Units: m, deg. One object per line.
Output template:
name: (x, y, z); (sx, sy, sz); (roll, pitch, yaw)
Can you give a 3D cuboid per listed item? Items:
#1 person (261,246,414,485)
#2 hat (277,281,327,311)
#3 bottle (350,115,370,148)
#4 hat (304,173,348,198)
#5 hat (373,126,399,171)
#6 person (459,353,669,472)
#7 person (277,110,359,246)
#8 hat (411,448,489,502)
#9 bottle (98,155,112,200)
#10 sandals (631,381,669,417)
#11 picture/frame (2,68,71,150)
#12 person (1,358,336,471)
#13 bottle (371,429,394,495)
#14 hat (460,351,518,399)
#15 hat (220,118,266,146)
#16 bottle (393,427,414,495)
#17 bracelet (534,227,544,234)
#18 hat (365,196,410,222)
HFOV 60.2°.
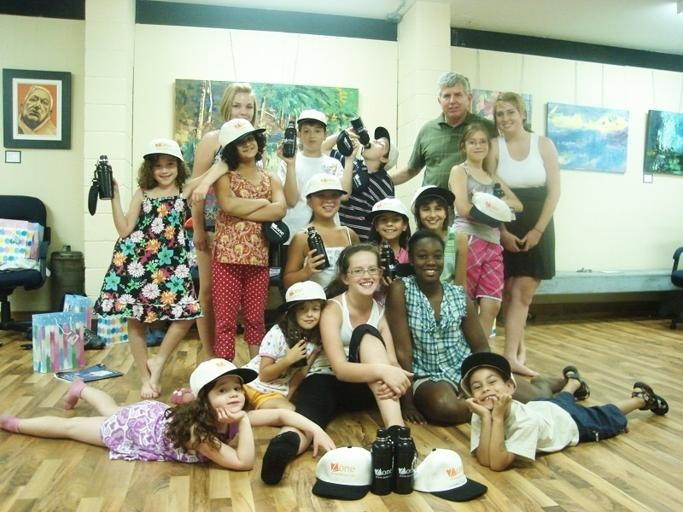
person: (0.016, 0.549, 3.277); (0.688, 0.895, 1.221); (5, 24, -6)
hat: (-0.226, 0.217, 3.383); (0.165, 0.071, 0.174); (-11, 1, 18)
bottle: (0.140, -0.869, 4.193); (0.102, 0.252, 0.089); (-11, 31, 31)
hat: (-0.105, -0.457, 3.823); (0.238, 0.149, 0.173); (-7, 12, -36)
hat: (0.361, -0.812, 4.436); (0.110, 0.321, 0.196); (-12, 15, -22)
person: (1.086, 0.715, 3.164); (0.864, 0.373, 0.584); (-6, -6, -28)
person: (-0.180, -0.319, 4.333); (0.595, 1.496, 0.389); (-3, 14, -11)
hat: (0.505, 1.033, 2.847); (0.262, 0.169, 0.399); (-3, -4, -35)
bottle: (-1.533, -0.506, 3.825); (0.092, 0.286, 0.196); (-4, 11, -22)
sandals: (1.849, 0.871, 3.547); (0.182, 0.073, 0.082); (35, 35, 2)
picture/frame: (-3.050, -1.484, 5.837); (0.795, 1.053, 0.036); (1, 1, -12)
person: (-0.864, 0.669, 3.156); (1.425, 0.436, 0.701); (2, -2, 18)
bottle: (0.192, 0.971, 2.779); (0.105, 0.287, 0.100); (0, 10, 0)
hat: (0.731, 0.585, 3.071); (0.317, 0.214, 0.435); (-8, -3, 14)
hat: (-0.640, -0.779, 3.733); (0.272, 0.184, 0.159); (5, 11, 24)
bottle: (0.298, 0.963, 2.792); (0.102, 0.294, 0.116); (1, 10, 6)
bracelet: (1.422, -0.183, 4.261); (0.045, 0.041, 0.050); (2, 6, -5)
hat: (0.307, -0.304, 3.846); (0.237, 0.137, 0.207); (-1, 10, -8)
